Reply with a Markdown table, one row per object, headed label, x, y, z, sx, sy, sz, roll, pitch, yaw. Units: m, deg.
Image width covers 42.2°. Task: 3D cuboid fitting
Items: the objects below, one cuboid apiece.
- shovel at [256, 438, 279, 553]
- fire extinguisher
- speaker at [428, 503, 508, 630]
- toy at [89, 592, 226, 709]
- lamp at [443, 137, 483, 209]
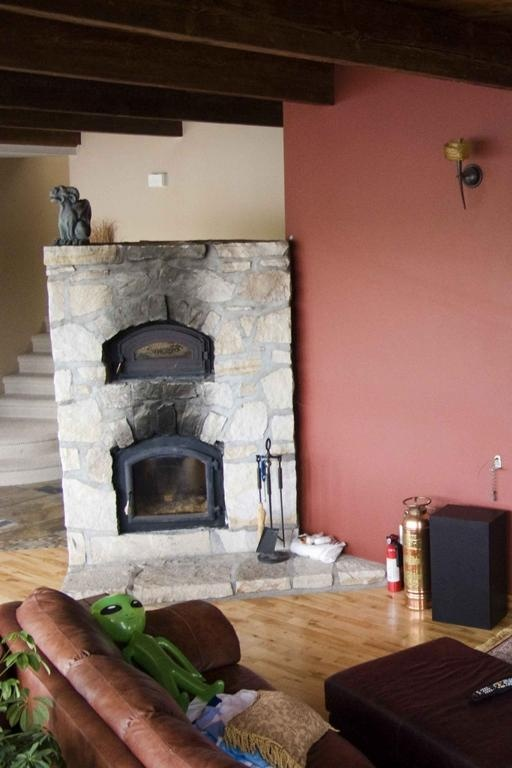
| label | x | y | z | sx | sy | sz | roll | pitch | yaw |
| --- | --- | --- | --- | --- | --- | --- | --- | --- | --- |
| shovel | 0.045 | 0.703 | 4.134 | 0.133 | 0.702 | 0.135 | -2 | 9 | -26 |
| fire extinguisher | 0.831 | 0.920 | 3.663 | 0.192 | 0.549 | 0.241 | -1 | 3 | 16 |
| speaker | 1.082 | 0.919 | 3.545 | 0.422 | 0.564 | 0.447 | 2 | 6 | 40 |
| toy | -0.319 | 0.854 | 2.073 | 0.172 | 0.133 | 0.492 | -9 | 34 | -46 |
| lamp | 1.016 | -1.046 | 3.287 | 0.165 | 0.328 | 0.098 | -26 | 28 | -31 |
